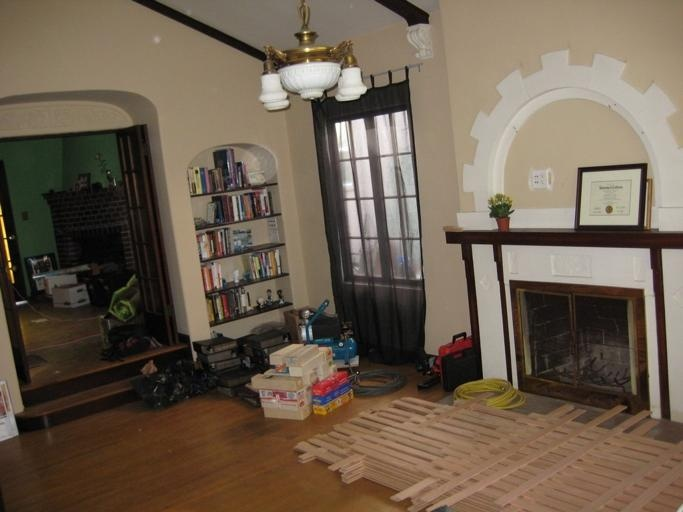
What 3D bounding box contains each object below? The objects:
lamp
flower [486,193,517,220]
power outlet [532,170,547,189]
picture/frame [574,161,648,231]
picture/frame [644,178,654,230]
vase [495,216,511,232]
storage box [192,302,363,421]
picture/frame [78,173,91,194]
[{"bbox_3d":[-0.186,-1.390,4.059,0.876,0.949,0.860,-4,12,2],"label":"lamp"},{"bbox_3d":[1.556,-0.480,5.062,0.277,0.295,0.267,0,-4,34],"label":"flower"},{"bbox_3d":[1.876,-0.719,4.884,0.043,0.150,0.179,-15,16,-43],"label":"power outlet"},{"bbox_3d":[2.343,-0.518,4.441,0.697,0.627,0.071,2,-1,39],"label":"picture/frame"},{"bbox_3d":[2.572,-0.443,4.314,0.049,0.426,0.106,2,10,41],"label":"picture/frame"},{"bbox_3d":[1.587,-0.312,5.054,0.156,0.109,0.148,-2,6,-22],"label":"vase"},{"bbox_3d":[-0.683,1.186,5.570,1.375,0.507,0.923,5,13,24],"label":"storage box"},{"bbox_3d":[-5.459,-1.543,11.014,0.498,0.506,0.073,3,4,31],"label":"picture/frame"}]
